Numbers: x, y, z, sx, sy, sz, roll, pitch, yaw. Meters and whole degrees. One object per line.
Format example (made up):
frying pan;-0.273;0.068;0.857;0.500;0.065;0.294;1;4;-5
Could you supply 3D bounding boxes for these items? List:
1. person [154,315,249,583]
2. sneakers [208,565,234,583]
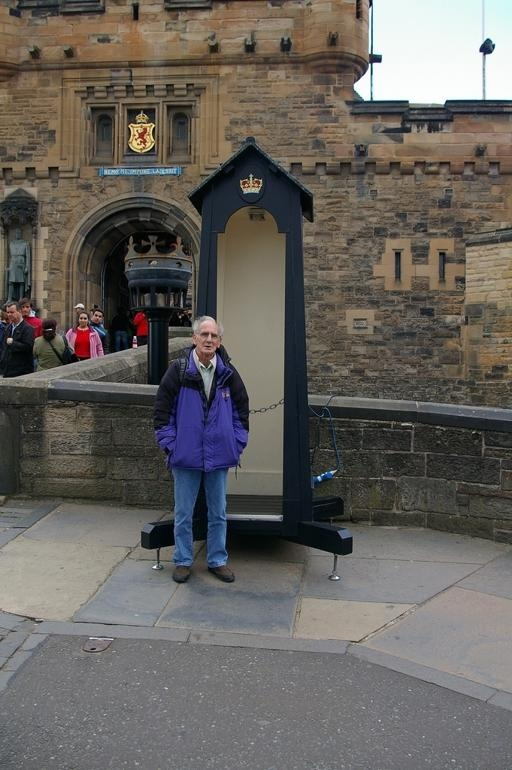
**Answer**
person;-0.315;0.353;4.481;0.535;1.463;0.377;1;4;-14
sneakers;-0.197;1.070;4.477;0.061;0.065;0.164;0;3;-38
